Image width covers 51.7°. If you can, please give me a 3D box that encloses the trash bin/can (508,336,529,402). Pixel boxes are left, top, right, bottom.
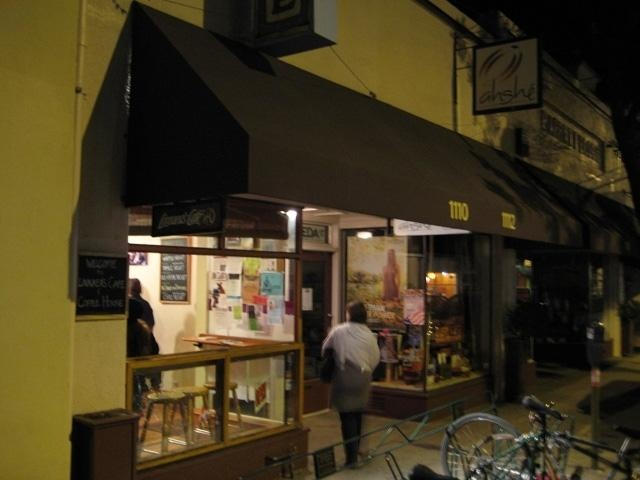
[{"bbox_3d":[3.629,2.372,12.173,0.411,1.147,0.241,-5,-7,15],"label":"trash bin/can"}]

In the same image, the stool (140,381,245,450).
[{"bbox_3d":[-1.500,2.009,7.549,0.249,0.496,0.931,3,-1,29],"label":"stool"}]

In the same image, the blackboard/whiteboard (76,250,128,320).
[{"bbox_3d":[-2.197,0.452,6.611,0.652,0.810,0.084,4,-8,-43],"label":"blackboard/whiteboard"}]

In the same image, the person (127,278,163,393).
[{"bbox_3d":[-2.107,1.122,7.702,0.429,1.395,0.424,-8,5,-13],"label":"person"}]

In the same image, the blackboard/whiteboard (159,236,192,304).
[{"bbox_3d":[-1.873,0.515,8.603,0.399,0.633,0.367,-2,-6,-14],"label":"blackboard/whiteboard"}]

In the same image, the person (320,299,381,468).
[{"bbox_3d":[0.409,1.696,8.604,0.744,1.753,0.327,-3,-6,-2],"label":"person"}]
